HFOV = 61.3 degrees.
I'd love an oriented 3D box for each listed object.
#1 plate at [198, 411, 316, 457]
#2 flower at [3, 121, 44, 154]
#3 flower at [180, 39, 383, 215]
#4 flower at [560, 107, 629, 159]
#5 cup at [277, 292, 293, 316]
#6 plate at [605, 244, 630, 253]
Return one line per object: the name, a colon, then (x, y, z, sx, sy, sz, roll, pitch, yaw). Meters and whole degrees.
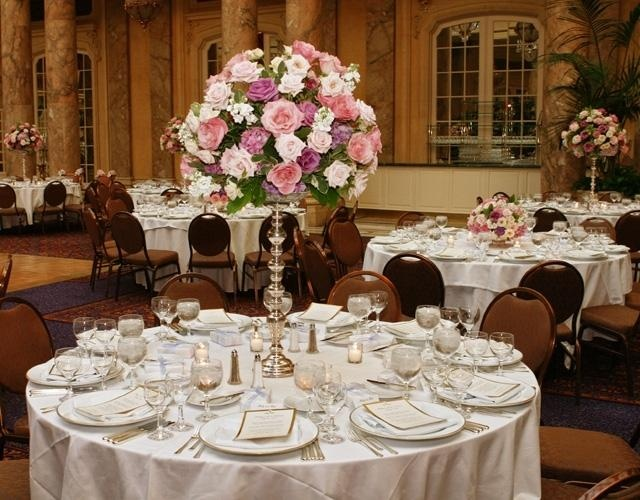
plate: (-0.183, 0.546, 1.598, 0.352, 0.032, 0.214, 0, 11, 1)
flower: (-6.607, -2.445, 12.132, 0.668, 0.695, 0.750, 0, 5, -7)
flower: (-0.135, -0.447, 2.262, 0.680, 0.679, 0.703, -2, 3, 34)
flower: (3.880, -1.609, 7.626, 0.737, 0.812, 0.764, 8, 14, 39)
cup: (-0.143, 0.248, 2.434, 0.087, 0.105, 0.090, 0, 7, 0)
plate: (2.527, -0.008, 4.620, 0.125, 0.033, 0.131, -4, 1, 15)
